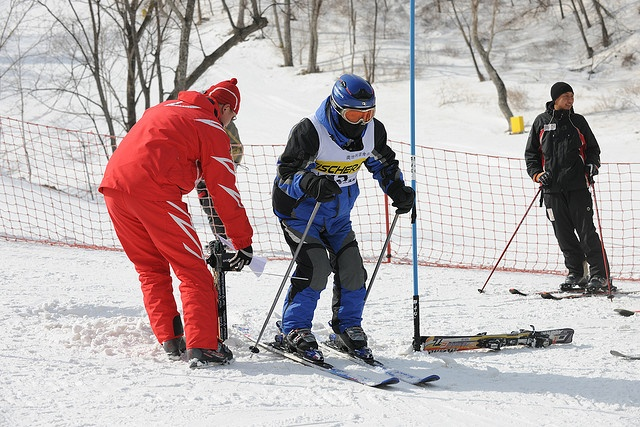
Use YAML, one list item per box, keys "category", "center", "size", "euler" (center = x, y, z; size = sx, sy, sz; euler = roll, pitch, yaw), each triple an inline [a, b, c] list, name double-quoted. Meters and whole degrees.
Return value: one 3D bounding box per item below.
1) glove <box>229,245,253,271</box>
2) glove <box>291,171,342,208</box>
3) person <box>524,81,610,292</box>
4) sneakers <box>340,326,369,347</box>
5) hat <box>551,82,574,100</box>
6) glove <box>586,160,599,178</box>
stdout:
- category: "glove"
  center: [-1.075, 0.638, 11.163]
  size: [0.406, 0.289, 0.283]
  euler: [1, 5, -8]
- category: "glove"
  center: [-0.015, -0.350, 11.017]
  size: [0.548, 0.347, 0.250]
  euler: [23, 29, 23]
- category: "person"
  center: [3.953, -0.423, 12.926]
  size: [1.214, 3.352, 0.489]
  euler: [-1, 5, 12]
- category: "sneakers"
  center: [0.497, 1.754, 11.271]
  size: [0.225, 0.161, 0.388]
  euler: [2, 1, -39]
- category: "hat"
  center: [3.878, -1.965, 12.904]
  size: [0.346, 0.238, 0.312]
  euler: [1, 7, 14]
- category: "glove"
  center: [4.347, -0.680, 12.817]
  size: [0.258, 0.231, 0.125]
  euler: [-4, 5, -29]
